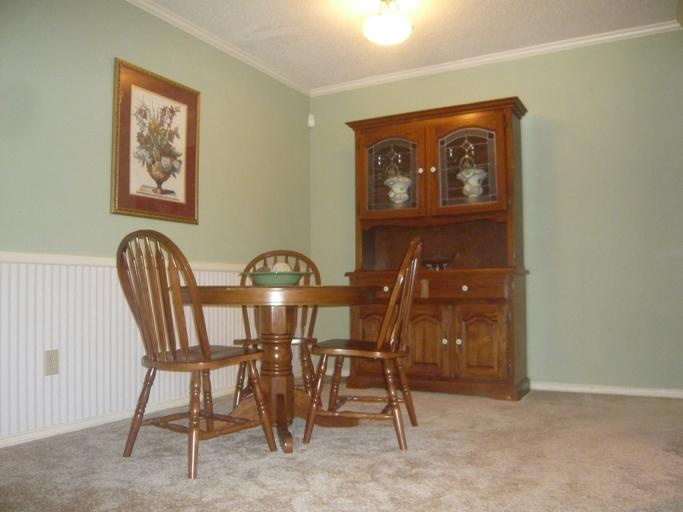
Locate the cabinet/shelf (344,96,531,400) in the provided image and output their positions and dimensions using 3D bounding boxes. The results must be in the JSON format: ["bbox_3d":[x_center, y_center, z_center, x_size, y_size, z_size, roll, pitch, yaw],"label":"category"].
[{"bbox_3d":[0.728,0.003,4.374,1.353,2.188,0.489,-1,-2,22],"label":"cabinet/shelf"}]

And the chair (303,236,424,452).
[{"bbox_3d":[0.152,0.473,3.274,0.644,1.177,0.868,1,5,8],"label":"chair"}]

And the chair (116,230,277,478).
[{"bbox_3d":[-0.839,0.479,3.009,0.719,1.260,1.013,-2,5,-23],"label":"chair"}]
